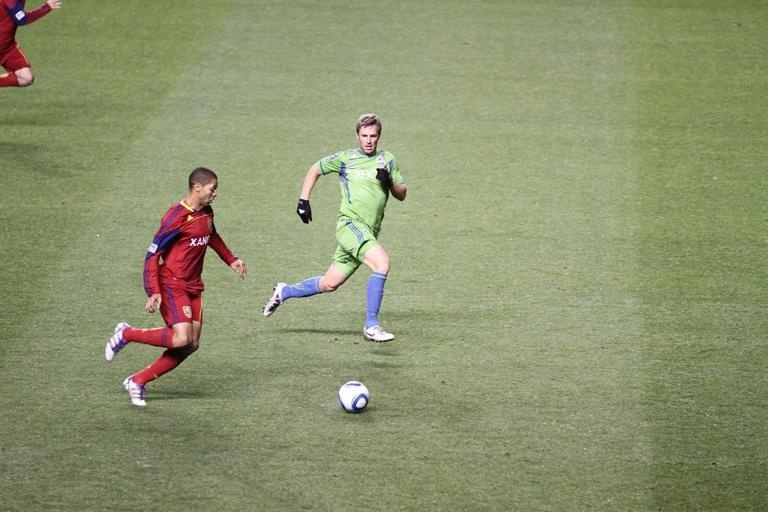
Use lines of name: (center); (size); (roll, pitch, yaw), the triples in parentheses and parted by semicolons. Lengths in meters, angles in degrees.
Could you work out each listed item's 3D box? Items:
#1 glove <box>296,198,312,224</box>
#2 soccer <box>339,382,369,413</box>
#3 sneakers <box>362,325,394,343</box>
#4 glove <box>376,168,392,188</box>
glove: (-0.943, -0.561, 15.669); (0.231, 0.303, 0.097); (-5, 12, 14)
soccer: (-0.329, 1.573, 14.484); (0.426, 0.334, 0.330); (-4, 44, -3)
sneakers: (-0.060, 0.950, 15.565); (0.436, 0.158, 0.168); (1, 5, 29)
glove: (0.005, -0.946, 15.623); (0.171, 0.319, 0.196); (-15, 48, -14)
